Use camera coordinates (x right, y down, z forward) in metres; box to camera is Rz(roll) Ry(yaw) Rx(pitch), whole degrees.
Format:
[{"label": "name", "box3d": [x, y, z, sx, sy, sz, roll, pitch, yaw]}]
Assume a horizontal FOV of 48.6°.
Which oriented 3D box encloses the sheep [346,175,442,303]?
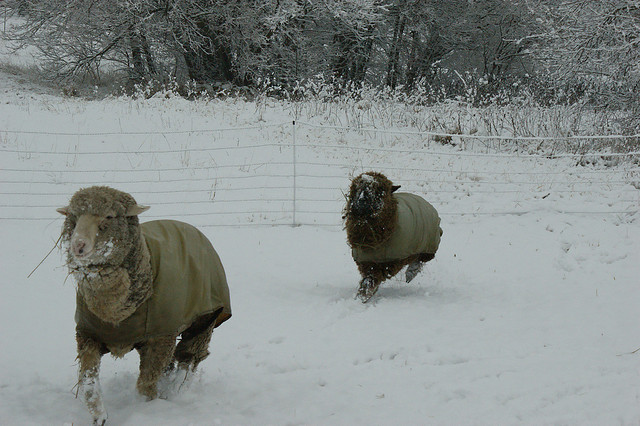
[{"label": "sheep", "box3d": [1.468, 0.413, 14.930, 1.641, 2.716, 3.137, 6, 11, 30]}]
